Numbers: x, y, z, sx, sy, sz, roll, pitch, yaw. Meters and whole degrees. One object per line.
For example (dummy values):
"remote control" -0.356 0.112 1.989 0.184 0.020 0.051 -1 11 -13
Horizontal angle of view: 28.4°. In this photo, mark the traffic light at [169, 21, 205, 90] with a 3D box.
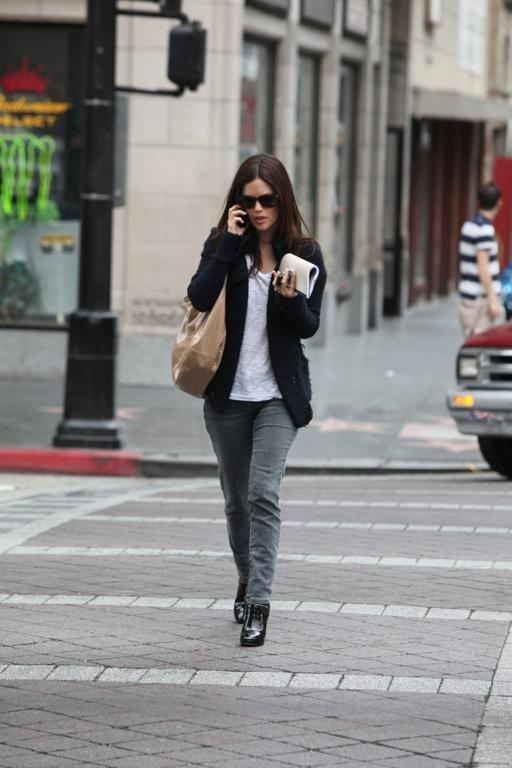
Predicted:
"traffic light" -0.544 -2.552 7.816 0.281 0.537 0.236 1 8 -7

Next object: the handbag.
"handbag" -0.219 -0.160 3.636 0.131 0.405 0.304 -2 10 -29

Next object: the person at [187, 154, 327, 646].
"person" -0.044 0.053 3.638 0.448 1.745 0.513 5 8 18

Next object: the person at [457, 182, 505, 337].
"person" 2.035 -1.100 9.090 0.413 1.422 0.529 4 8 9

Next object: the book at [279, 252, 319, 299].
"book" 0.139 -0.372 3.468 0.049 0.106 0.152 15 10 -33

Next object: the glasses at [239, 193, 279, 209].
"glasses" 0.006 -0.651 3.600 0.134 0.059 0.054 2 8 -2
